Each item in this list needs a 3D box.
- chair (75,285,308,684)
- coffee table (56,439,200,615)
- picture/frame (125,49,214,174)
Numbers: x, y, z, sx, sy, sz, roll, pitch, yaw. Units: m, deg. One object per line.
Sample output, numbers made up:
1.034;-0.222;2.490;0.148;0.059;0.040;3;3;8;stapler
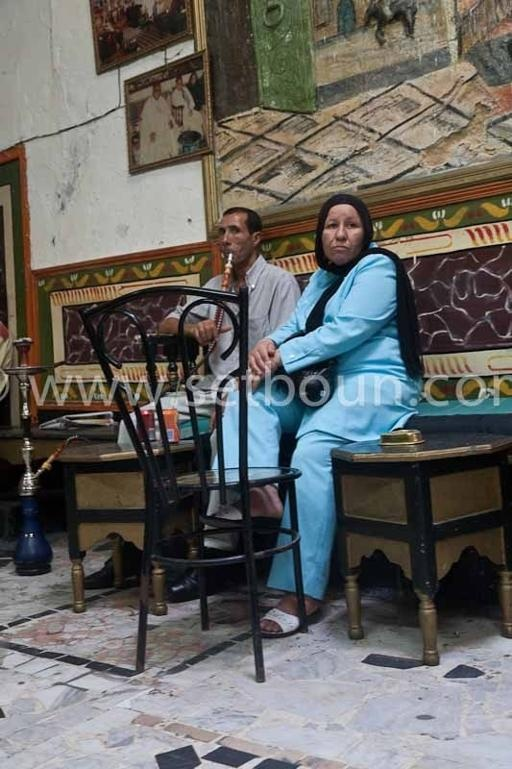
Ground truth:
-0.155;0.275;2.246;0.532;1.010;0.550;-4;-2;12;chair
-0.450;0.473;3.112;0.597;0.807;0.653;0;1;4;coffee table
-0.491;-1.607;4.630;0.973;0.728;0.070;1;6;44;picture/frame
